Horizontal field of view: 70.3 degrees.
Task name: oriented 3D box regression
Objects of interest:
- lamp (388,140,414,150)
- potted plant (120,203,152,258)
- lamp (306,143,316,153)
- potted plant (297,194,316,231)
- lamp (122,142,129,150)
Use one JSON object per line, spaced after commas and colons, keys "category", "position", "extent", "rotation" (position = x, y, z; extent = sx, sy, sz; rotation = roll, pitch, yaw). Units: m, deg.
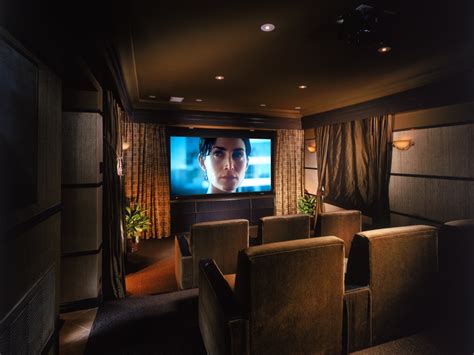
{"category": "lamp", "position": [2.390, -0.476, 4.920], "extent": [0.155, 0.172, 0.348], "rotation": [-9, 10, -18]}
{"category": "potted plant", "position": [-1.731, 0.819, 5.581], "extent": [0.571, 0.851, 0.661], "rotation": [1, -1, -35]}
{"category": "lamp", "position": [1.556, -0.606, 6.989], "extent": [0.040, 0.174, 0.167], "rotation": [6, 12, -33]}
{"category": "potted plant", "position": [1.546, 0.686, 6.943], "extent": [0.427, 0.813, 0.409], "rotation": [2, -1, -6]}
{"category": "lamp", "position": [-1.805, -0.500, 5.500], "extent": [0.105, 0.149, 0.990], "rotation": [-9, 9, -17]}
